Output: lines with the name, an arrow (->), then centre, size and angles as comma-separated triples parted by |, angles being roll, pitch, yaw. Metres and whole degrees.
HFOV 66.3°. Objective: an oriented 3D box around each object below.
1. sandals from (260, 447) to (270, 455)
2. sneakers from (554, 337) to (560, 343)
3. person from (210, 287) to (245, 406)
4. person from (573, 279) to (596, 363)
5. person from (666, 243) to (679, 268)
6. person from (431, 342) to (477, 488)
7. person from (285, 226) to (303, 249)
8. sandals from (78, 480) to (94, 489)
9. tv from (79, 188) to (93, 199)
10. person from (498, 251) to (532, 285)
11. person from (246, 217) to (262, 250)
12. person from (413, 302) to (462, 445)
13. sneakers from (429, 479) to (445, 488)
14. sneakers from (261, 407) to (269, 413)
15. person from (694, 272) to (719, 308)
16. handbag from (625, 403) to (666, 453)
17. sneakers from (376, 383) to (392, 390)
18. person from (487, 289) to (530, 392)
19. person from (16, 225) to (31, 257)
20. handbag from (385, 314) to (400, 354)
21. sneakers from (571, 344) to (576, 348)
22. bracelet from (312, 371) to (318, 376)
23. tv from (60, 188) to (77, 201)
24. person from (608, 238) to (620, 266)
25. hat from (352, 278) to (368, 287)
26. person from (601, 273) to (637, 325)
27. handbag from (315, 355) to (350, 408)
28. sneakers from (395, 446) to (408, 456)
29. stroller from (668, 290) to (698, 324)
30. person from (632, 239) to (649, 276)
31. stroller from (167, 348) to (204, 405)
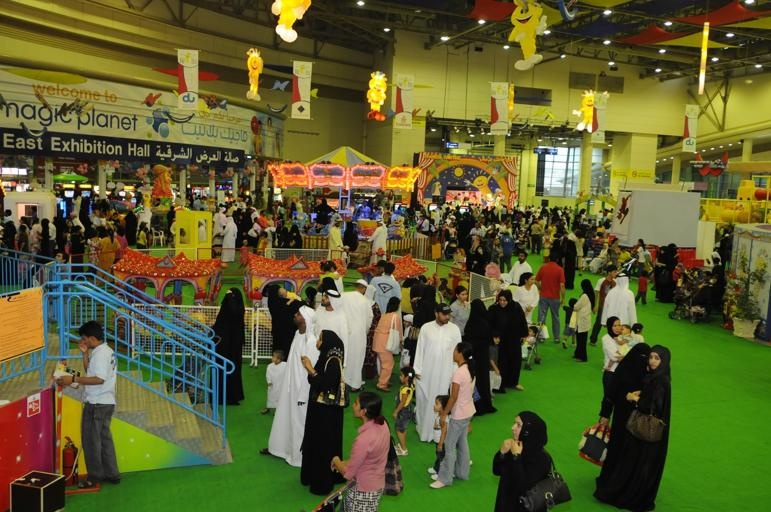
sandals -> -1.814, 2.967, 8.928 | 0.148, 0.104, 0.054 | 9, -1, 15
sneakers -> 3.940, 1.932, 13.450 | 0.154, 0.141, 0.093 | -5, 12, -7
person -> -2.636, 1.550, 9.958 | 0.517, 2.011, 0.293 | 0, 6, -16
person -> 4.152, 1.374, 12.570 | 0.567, 1.758, 0.551 | 5, -1, -38
person -> 8.605, 0.010, 17.699 | 0.347, 0.747, 0.582 | 4, 6, 26
person -> 1.002, 2.278, 8.361 | 0.622, 2.107, 0.340 | -1, 6, -27
person -> -2.829, -0.636, 18.340 | 0.290, 0.723, 0.726 | 2, 6, 4
sandals -> -4.070, 3.131, 8.044 | 0.098, 0.059, 0.182 | 3, -5, 43
tv -> -12.066, -2.582, 23.963 | 0.498, 0.292, 1.758 | -1, 7, -27
person -> 3.034, 0.339, 13.491 | 0.607, 0.824, 0.474 | 12, 9, 34
person -> -4.377, -0.801, 19.672 | 0.488, 1.004, 0.774 | 0, 6, -14
person -> 0.890, 1.843, 9.128 | 0.821, 2.203, 0.575 | -3, 2, 17
sneakers -> 0.743, 3.282, 8.413 | 0.233, 0.088, 0.100 | -4, -7, 44
sneakers -> -2.018, 2.607, 9.876 | 0.051, 0.055, 0.124 | 3, -2, 21
person -> 8.649, 0.918, 16.220 | 0.801, 1.045, 0.947 | 1, 7, 22
handbag -> 3.528, 2.296, 8.045 | 0.318, 0.346, 0.502 | -10, 2, -31
sneakers -> -0.018, 2.373, 10.675 | 0.257, 0.110, 0.089 | 0, 11, 6
person -> 2.255, 1.567, 10.862 | 0.838, 1.854, 0.594 | -2, -2, 0
person -> -9.918, -0.523, 16.153 | 0.306, 0.786, 0.580 | -2, 7, -32
handbag -> 0.109, 1.382, 10.367 | 0.175, 0.713, 0.387 | 6, -4, 27
sneakers -> 4.236, 2.030, 13.265 | 0.075, 0.085, 0.122 | -9, -15, 7
bracelet -> -0.965, 1.638, 8.208 | 0.098, 0.052, 0.052 | 5, 41, -38
tv -> -12.500, -2.467, 23.459 | 0.640, 0.362, 0.600 | 10, -1, 8
person -> 7.524, -0.120, 19.365 | 0.349, 1.088, 0.386 | -16, 33, -9
hat -> -0.545, 0.567, 12.605 | 0.366, 0.125, 0.358 | 7, 5, -15
person -> 4.661, 0.847, 11.598 | 0.533, 0.924, 0.868 | 2, 6, -2
handbag -> -0.735, 1.799, 8.356 | 0.523, 0.776, 0.635 | 12, -13, -12
sneakers -> 0.253, 3.009, 9.028 | 0.223, 0.098, 0.107 | 7, 6, 24
stroller -> 8.166, 1.375, 16.095 | 0.768, 0.959, 0.651 | -6, 11, -26
person -> 8.237, 0.037, 18.926 | 0.472, 1.142, 0.981 | 3, 6, 12
stroller -> -3.338, 2.036, 9.897 | 0.606, 0.867, 2.151 | 0, 6, -20
